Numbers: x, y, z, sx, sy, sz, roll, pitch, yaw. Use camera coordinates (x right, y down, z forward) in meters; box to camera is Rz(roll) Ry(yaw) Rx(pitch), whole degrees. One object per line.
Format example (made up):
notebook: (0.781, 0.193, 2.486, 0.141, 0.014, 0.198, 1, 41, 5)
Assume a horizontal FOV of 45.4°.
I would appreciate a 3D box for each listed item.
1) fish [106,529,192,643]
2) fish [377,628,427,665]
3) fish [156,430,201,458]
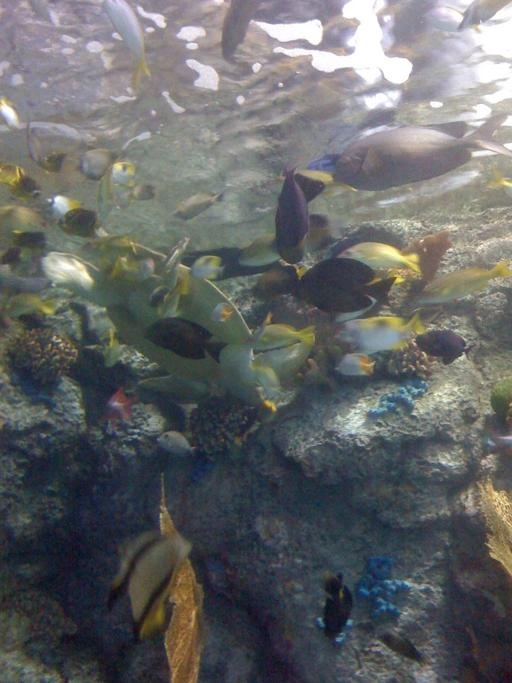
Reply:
fish: (-0.601, 1.497, 3.837, 0.472, 0.159, 0.652, 4, 49, 24)
fish: (1.041, 2.181, 4.340, 0.434, 0.225, 0.126, 33, 56, -5)
fish: (-0.671, 0.878, 5.220, 0.335, 0.178, 0.110, 8, 34, 1)
